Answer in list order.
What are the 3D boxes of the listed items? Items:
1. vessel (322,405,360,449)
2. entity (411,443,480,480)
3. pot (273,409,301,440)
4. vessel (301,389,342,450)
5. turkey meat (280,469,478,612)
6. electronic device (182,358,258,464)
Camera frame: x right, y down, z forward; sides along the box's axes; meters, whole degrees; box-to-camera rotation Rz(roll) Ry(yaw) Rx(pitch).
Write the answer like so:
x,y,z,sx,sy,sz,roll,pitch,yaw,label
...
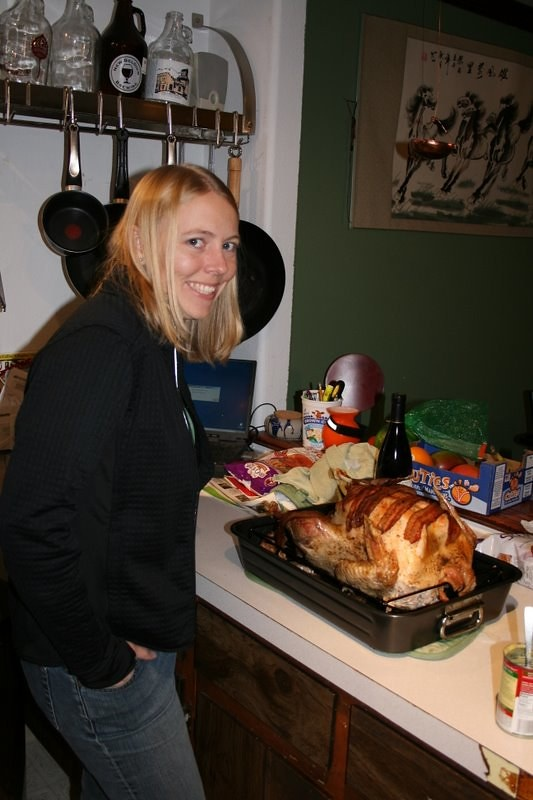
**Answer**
x,y,z,sx,sy,sz,roll,pitch,yaw,label
0.214,0.080,1.760,0.110,0.130,0.104,11,-11,-32,vessel
0.407,0.124,1.392,0.089,0.086,0.089,1,7,-21,entity
0.072,0.080,1.944,0.085,0.062,0.084,5,2,0,pot
0.135,0.056,1.900,0.156,0.193,0.162,3,1,-3,vessel
0.172,0.186,0.915,0.222,0.082,0.159,20,18,39,turkey meat
-0.126,0.015,1.885,0.325,0.304,0.253,0,4,-11,electronic device
